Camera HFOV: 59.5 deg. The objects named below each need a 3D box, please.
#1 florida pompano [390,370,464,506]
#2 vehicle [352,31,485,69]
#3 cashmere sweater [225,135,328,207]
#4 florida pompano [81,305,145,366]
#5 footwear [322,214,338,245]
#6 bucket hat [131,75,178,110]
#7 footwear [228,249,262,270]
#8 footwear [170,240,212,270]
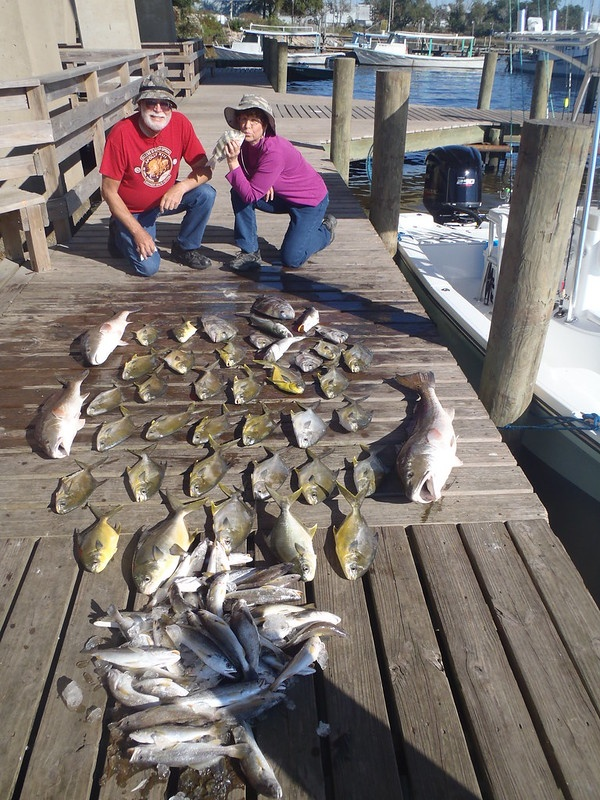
[{"bbox_3d":[0.600,0.163,2.456,0.262,0.193,0.673,-5,24,17],"label":"florida pompano"},{"bbox_3d":[10.450,-28.148,42.386,8.515,3.141,22.124,9,32,14],"label":"vehicle"},{"bbox_3d":[-0.154,-1.748,4.107,0.904,0.493,0.548,-6,30,-29],"label":"cashmere sweater"},{"bbox_3d":[-1.182,-0.402,3.276,0.132,0.157,0.483,14,30,5],"label":"florida pompano"},{"bbox_3d":[0.281,-1.578,4.789,0.132,0.389,0.166,-4,18,-4],"label":"footwear"},{"bbox_3d":[-0.966,-2.098,3.550,0.216,0.160,0.290,-5,35,-21],"label":"bucket hat"},{"bbox_3d":[-0.499,-1.160,4.402,0.345,0.158,0.115,-14,32,-16],"label":"footwear"},{"bbox_3d":[-0.938,-1.204,4.470,0.376,0.184,0.179,24,65,9],"label":"footwear"}]
